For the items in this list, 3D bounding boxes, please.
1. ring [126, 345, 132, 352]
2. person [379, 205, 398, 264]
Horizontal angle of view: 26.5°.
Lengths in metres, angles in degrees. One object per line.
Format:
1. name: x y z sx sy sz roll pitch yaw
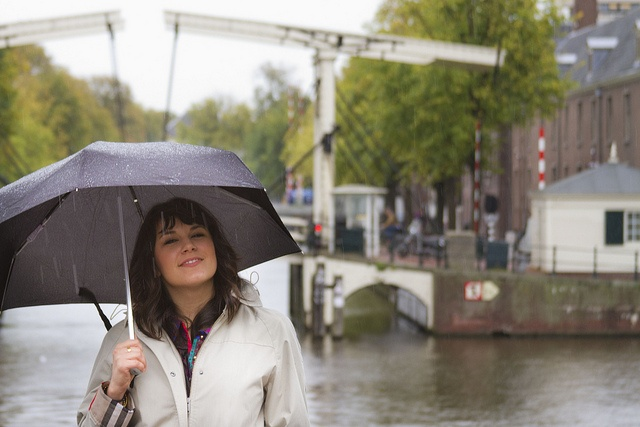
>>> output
1. ring: -2.132 1.512 15.500 0.061 0.072 0.018 -1 -4 -3
2. person: 1.130 0.324 21.766 0.298 0.847 0.895 -1 0 2
